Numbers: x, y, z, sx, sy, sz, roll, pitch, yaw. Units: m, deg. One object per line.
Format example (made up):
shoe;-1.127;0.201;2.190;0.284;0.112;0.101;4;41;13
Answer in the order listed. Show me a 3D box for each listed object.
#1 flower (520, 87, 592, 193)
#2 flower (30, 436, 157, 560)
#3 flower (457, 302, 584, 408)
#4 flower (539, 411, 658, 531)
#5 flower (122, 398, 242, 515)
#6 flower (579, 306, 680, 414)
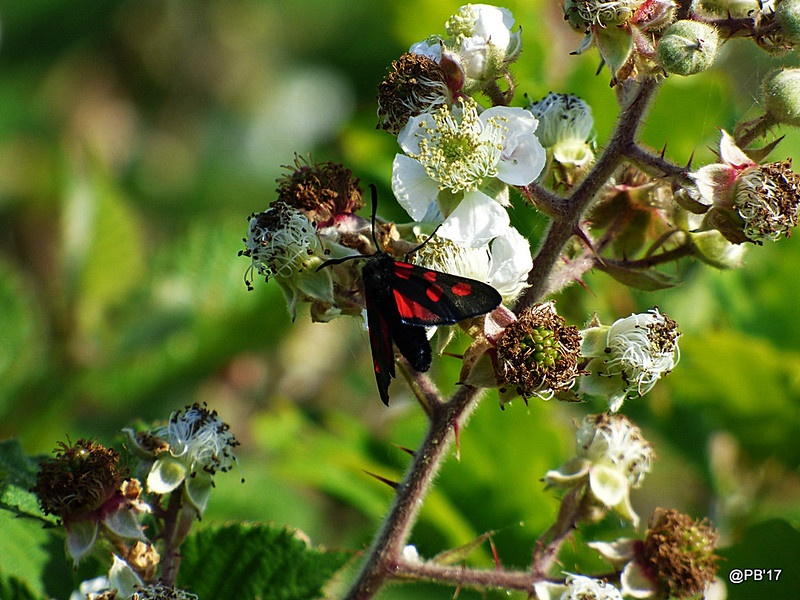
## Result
flower;0.694;-0.734;5.352;0.293;0.246;0.469;-8;-28;1
flower;-1.268;0.810;5.051;0.404;0.507;0.377;-26;18;8
flower;0.484;0.210;4.837;0.398;0.269;0.390;41;-23;-17
flower;0.854;0.685;5.030;0.389;0.345;0.464;2;4;-14
flower;-0.922;0.659;5.124;0.430;0.486;0.442;14;-40;-15
flower;1.012;0.231;5.011;0.402;0.246;0.469;-10;0;11
